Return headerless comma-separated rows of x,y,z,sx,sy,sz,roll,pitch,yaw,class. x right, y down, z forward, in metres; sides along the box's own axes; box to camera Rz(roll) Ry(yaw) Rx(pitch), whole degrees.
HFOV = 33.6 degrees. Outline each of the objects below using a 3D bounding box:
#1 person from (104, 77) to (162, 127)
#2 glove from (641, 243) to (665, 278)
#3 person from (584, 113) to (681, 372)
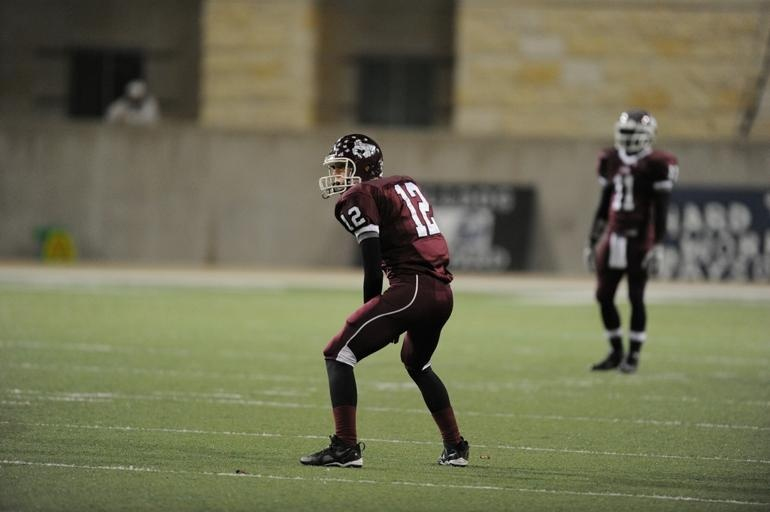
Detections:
-5.620,-3.428,28.768,1.374,0.997,0.832,-1,0,9,person
3.918,0.009,18.594,0.281,0.482,0.465,5,12,23,glove
3.570,-0.173,18.627,1.200,3.862,0.701,3,11,11,person
